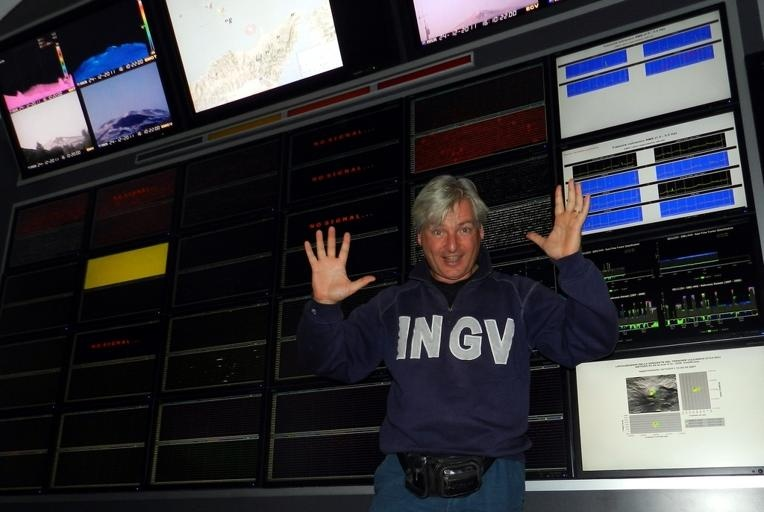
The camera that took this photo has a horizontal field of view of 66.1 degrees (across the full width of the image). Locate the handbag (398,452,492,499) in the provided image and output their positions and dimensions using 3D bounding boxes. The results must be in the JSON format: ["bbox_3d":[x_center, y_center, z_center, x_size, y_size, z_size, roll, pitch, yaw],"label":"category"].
[{"bbox_3d":[0.328,1.171,3.173,0.340,0.121,0.259,3,-3,-12],"label":"handbag"}]

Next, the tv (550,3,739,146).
[{"bbox_3d":[1.812,-1.196,3.961,1.137,0.660,0.040,-11,-23,22],"label":"tv"}]
